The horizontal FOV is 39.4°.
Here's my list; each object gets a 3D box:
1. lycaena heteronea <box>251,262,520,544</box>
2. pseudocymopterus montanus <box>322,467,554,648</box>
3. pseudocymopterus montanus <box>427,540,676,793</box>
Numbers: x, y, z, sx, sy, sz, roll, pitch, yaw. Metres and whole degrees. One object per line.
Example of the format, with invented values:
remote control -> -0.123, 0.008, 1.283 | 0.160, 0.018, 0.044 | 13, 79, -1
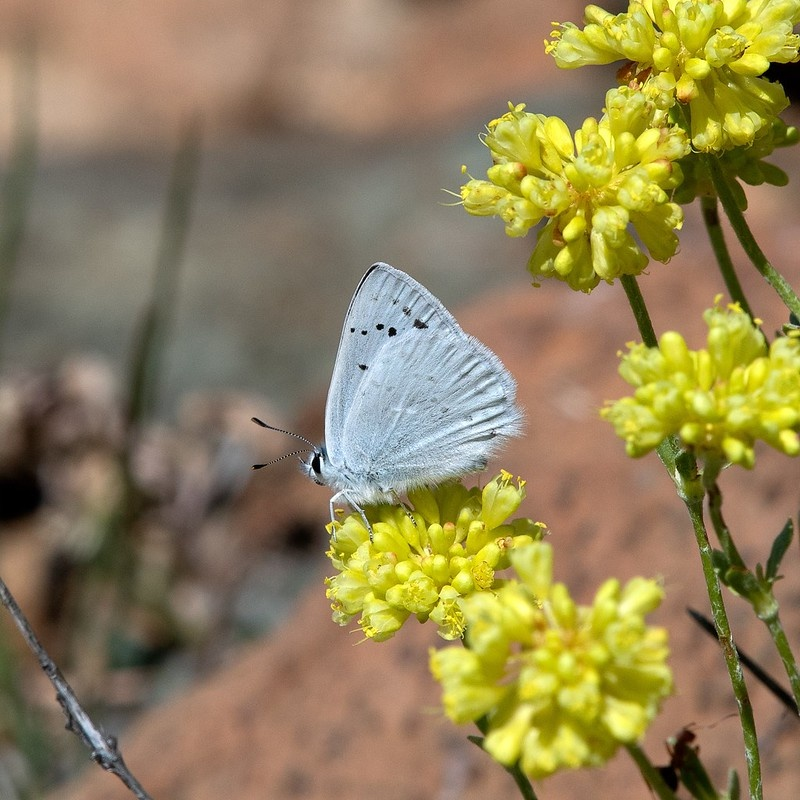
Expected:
lycaena heteronea -> 0.017, 0.001, 3.274 | 0.568, 0.761, 0.288 | 9, 26, 29
pseudocymopterus montanus -> 0.102, 0.394, 2.891 | 0.511, 0.217, 0.421 | -31, 38, -9
pseudocymopterus montanus -> 0.337, 0.585, 2.475 | 0.518, 0.504, 0.287 | -14, 14, -6
